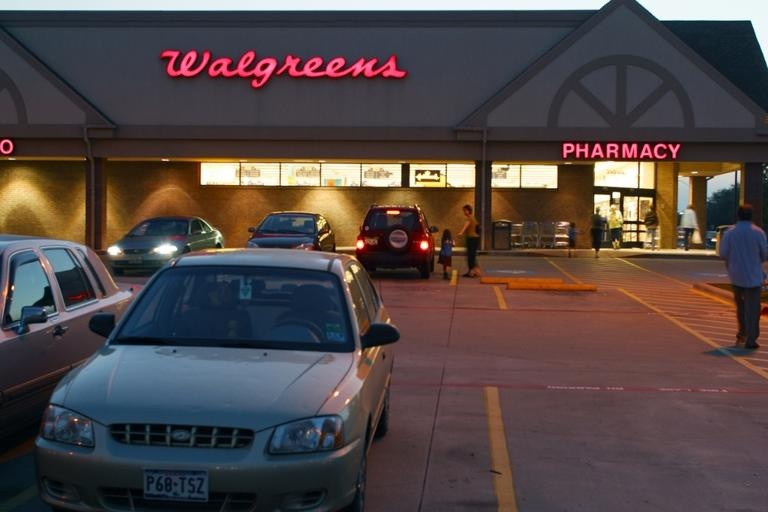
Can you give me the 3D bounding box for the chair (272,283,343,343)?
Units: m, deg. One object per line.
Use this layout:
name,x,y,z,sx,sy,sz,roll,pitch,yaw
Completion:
chair,-0.646,0.521,5.457,0.388,0.289,0.617,1,1,1
